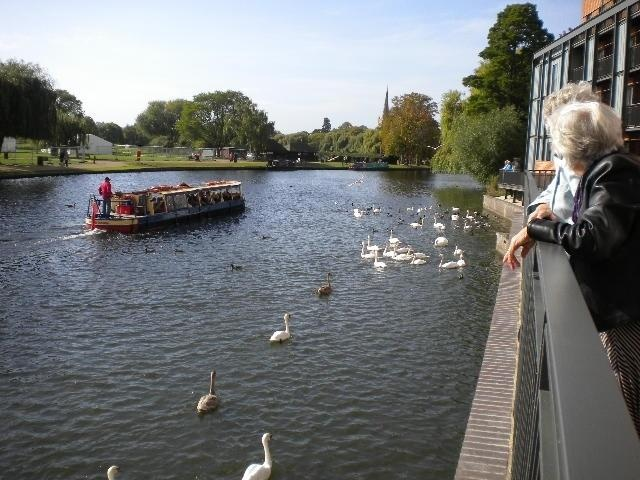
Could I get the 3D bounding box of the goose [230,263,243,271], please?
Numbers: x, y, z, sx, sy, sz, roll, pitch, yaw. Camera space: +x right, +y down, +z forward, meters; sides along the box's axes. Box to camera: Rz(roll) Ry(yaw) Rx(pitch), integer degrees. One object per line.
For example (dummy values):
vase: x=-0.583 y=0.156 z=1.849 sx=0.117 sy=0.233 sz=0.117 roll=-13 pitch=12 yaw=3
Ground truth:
goose: x=-4.266 y=1.376 z=25.571 sx=0.405 sy=0.225 sz=0.429 roll=10 pitch=4 yaw=20

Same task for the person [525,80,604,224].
person: x=1.808 y=-0.589 z=3.805 sx=0.366 sy=1.771 sz=0.428 roll=-2 pitch=11 yaw=9

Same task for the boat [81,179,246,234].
boat: x=-12.374 y=-2.659 z=40.419 sx=7.358 sy=4.011 sz=17.722 roll=6 pitch=11 yaw=31

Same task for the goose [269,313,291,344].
goose: x=-1.273 y=2.942 z=16.661 sx=0.480 sy=0.670 sz=0.955 roll=7 pitch=11 yaw=29
